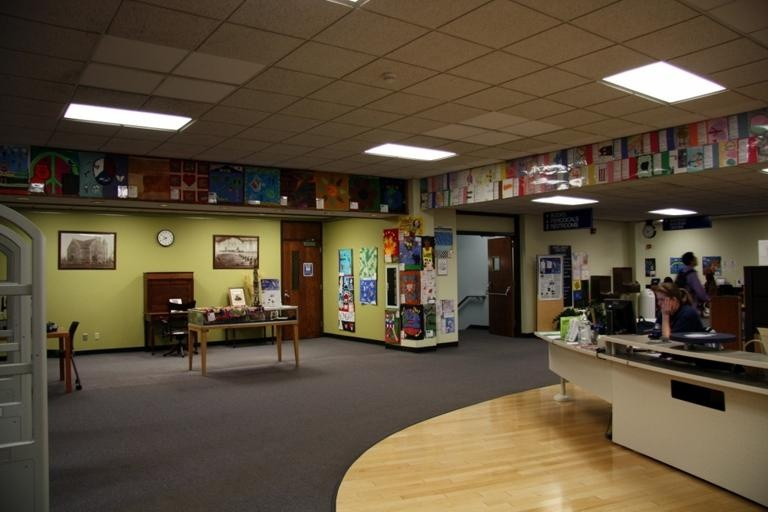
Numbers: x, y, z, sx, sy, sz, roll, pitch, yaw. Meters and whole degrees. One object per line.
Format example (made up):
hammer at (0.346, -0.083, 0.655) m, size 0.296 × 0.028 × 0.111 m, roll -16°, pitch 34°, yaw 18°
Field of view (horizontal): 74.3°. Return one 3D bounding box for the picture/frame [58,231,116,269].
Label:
picture/frame at (-6.834, 0.004, 11.869) m, size 1.398 × 1.235 × 0.772 m, roll 3°, pitch -5°, yaw -33°

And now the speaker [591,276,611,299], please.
speaker at (6.248, 0.909, 14.597) m, size 0.682 × 0.624 × 0.340 m, roll 1°, pitch -4°, yaw -18°

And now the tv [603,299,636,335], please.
tv at (3.064, 0.773, 6.547) m, size 0.362 × 0.435 × 0.310 m, roll 1°, pitch 5°, yaw 23°

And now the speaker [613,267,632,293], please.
speaker at (7.134, 0.719, 15.169) m, size 0.539 × 0.742 × 0.497 m, roll 1°, pitch 5°, yaw 18°

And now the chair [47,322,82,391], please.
chair at (-6.147, 1.933, 9.678) m, size 0.872 × 1.075 × 1.128 m, roll 3°, pitch -6°, yaw -26°

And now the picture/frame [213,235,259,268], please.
picture/frame at (-3.844, -0.102, 12.947) m, size 0.921 × 0.674 × 0.064 m, roll 1°, pitch -6°, yaw -28°

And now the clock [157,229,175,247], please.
clock at (-5.313, -0.430, 12.251) m, size 0.455 × 0.437 × 0.048 m, roll 0°, pitch -5°, yaw -32°
